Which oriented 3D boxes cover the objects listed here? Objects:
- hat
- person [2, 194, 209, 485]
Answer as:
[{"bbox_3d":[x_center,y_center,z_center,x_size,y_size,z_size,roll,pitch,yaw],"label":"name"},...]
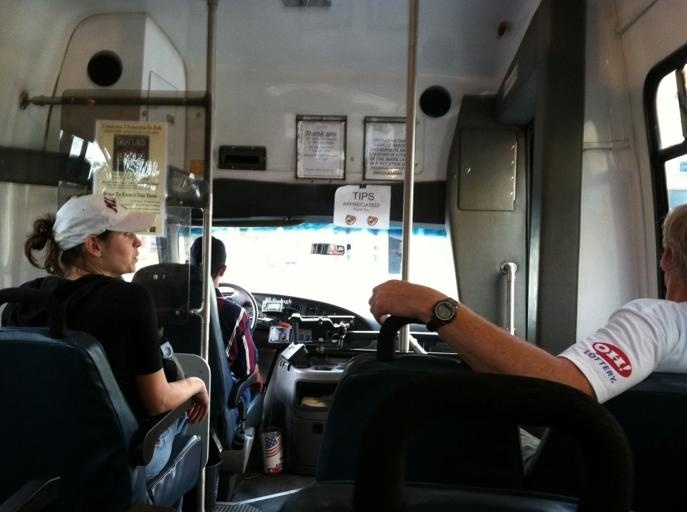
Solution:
[{"bbox_3d":[-1.068,-0.134,2.532,0.345,0.136,0.226,-12,28,-17],"label":"hat"},{"bbox_3d":[-1.036,0.412,2.629,0.756,1.371,0.797,2,5,4],"label":"person"}]
